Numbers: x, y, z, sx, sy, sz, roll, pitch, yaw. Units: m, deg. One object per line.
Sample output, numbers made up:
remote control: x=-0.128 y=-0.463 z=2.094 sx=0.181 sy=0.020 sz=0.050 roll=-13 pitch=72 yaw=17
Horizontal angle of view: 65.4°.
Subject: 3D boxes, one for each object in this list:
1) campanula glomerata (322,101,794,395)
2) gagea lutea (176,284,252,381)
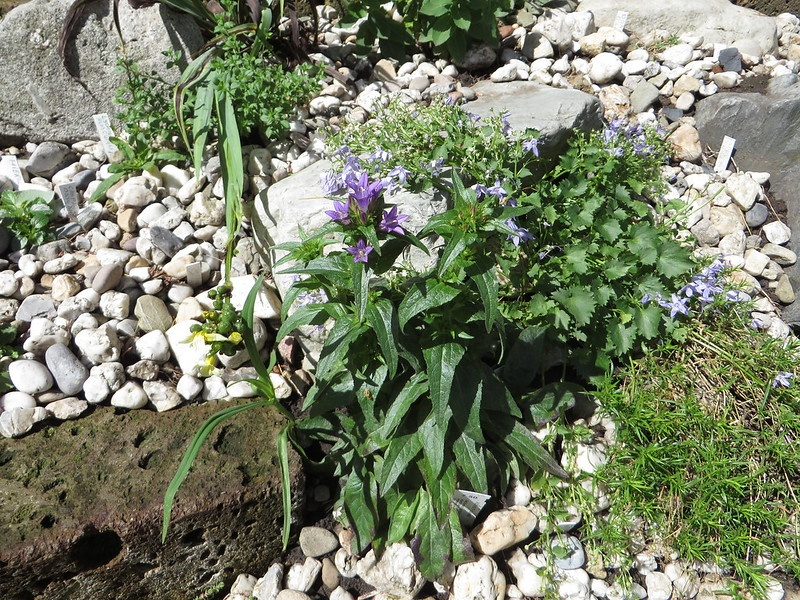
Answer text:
campanula glomerata: x=0.875 y=-0.559 z=3.541 sx=2.215 sy=1.236 sz=1.671 roll=30 pitch=62 yaw=19
gagea lutea: x=-1.031 y=0.184 z=3.468 sx=0.334 sy=0.248 sz=0.575 roll=0 pitch=57 yaw=-5
